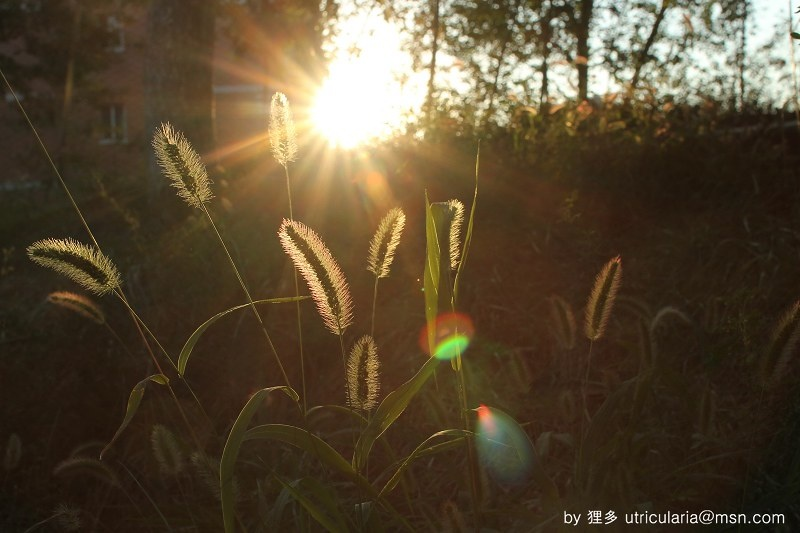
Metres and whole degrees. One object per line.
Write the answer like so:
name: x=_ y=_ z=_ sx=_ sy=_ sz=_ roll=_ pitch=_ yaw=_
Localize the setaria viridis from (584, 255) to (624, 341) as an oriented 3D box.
setaria viridis: x=0.672 y=0.105 z=2.081 sx=0.064 sy=0.075 sz=0.284 roll=8 pitch=-66 yaw=-6
